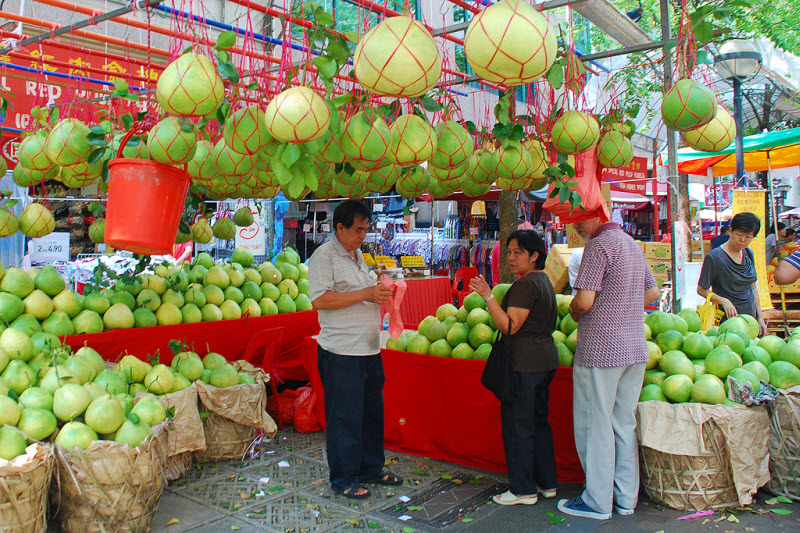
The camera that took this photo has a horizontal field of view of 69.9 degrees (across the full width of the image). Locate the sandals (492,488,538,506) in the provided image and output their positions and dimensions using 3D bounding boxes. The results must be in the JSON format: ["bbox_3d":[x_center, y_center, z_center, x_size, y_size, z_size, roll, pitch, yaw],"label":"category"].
[{"bbox_3d":[0.846,1.713,4.261,0.299,0.129,0.126,3,-3,6],"label":"sandals"}]

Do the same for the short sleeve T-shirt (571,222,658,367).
[{"bbox_3d":[1.579,0.174,4.160,0.731,1.020,0.427,0,3,-27],"label":"short sleeve T-shirt"}]

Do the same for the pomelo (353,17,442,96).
[{"bbox_3d":[0.015,-0.966,2.793,0.355,0.376,0.369,-9,-24,27],"label":"pomelo"}]

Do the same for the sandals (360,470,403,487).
[{"bbox_3d":[-0.153,1.660,4.558,0.311,0.124,0.130,-1,-1,10],"label":"sandals"}]

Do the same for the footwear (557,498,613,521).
[{"bbox_3d":[1.302,1.697,4.082,0.300,0.131,0.136,9,-7,26],"label":"footwear"}]

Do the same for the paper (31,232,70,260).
[{"bbox_3d":[-4.579,-0.211,7.497,0.518,0.390,0.497,0,-2,-24],"label":"paper"}]

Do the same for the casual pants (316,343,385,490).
[{"bbox_3d":[-0.360,1.160,4.411,0.503,1.096,0.282,-3,9,-12],"label":"casual pants"}]

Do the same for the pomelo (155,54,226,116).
[{"bbox_3d":[-1.058,-0.906,2.949,0.294,0.318,0.309,0,7,-7],"label":"pomelo"}]
